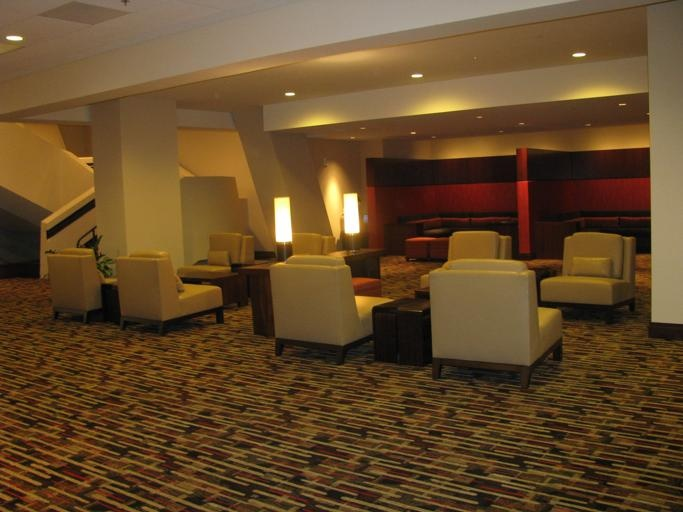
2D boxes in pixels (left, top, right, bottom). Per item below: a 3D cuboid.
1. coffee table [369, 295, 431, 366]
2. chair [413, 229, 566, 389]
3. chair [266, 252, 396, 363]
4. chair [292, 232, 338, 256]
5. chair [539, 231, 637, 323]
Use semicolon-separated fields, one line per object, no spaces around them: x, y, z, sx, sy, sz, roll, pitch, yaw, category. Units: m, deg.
0.730;0.779;5.917;0.757;0.800;0.954;0;3;22;coffee table
1.552;0.618;5.123;1.010;1.230;0.836;1;9;31;chair
-0.065;0.611;6.295;1.147;0.986;1.434;1;-1;30;chair
-0.585;-0.258;10.421;0.582;0.605;0.606;3;7;18;chair
3.886;0.255;7.824;1.547;1.323;1.508;2;4;38;chair
